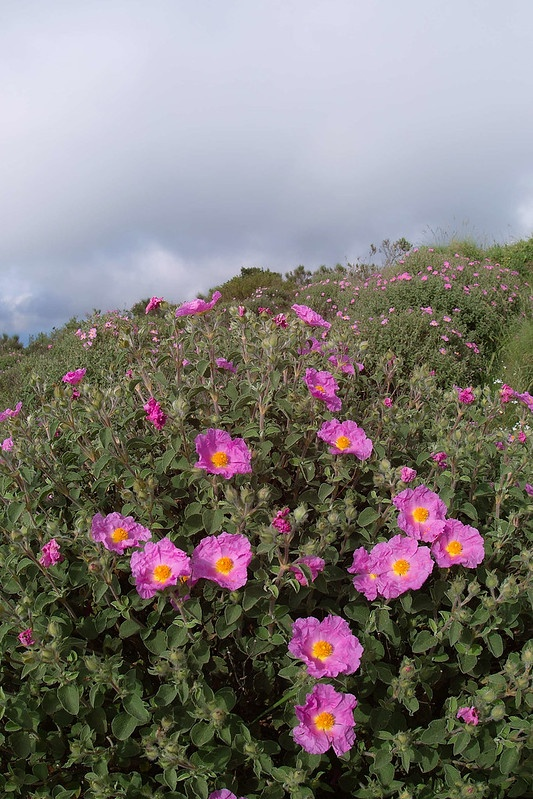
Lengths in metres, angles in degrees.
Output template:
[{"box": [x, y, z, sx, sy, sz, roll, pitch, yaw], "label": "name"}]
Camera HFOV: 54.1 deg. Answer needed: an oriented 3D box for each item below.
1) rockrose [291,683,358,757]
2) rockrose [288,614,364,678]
[{"box": [0.199, 1.053, 1.722, 0.221, 0.236, 0.088, 9, -16, 13], "label": "rockrose"}, {"box": [0.197, 0.876, 1.796, 0.240, 0.239, 0.162, -6, 6, -29], "label": "rockrose"}]
